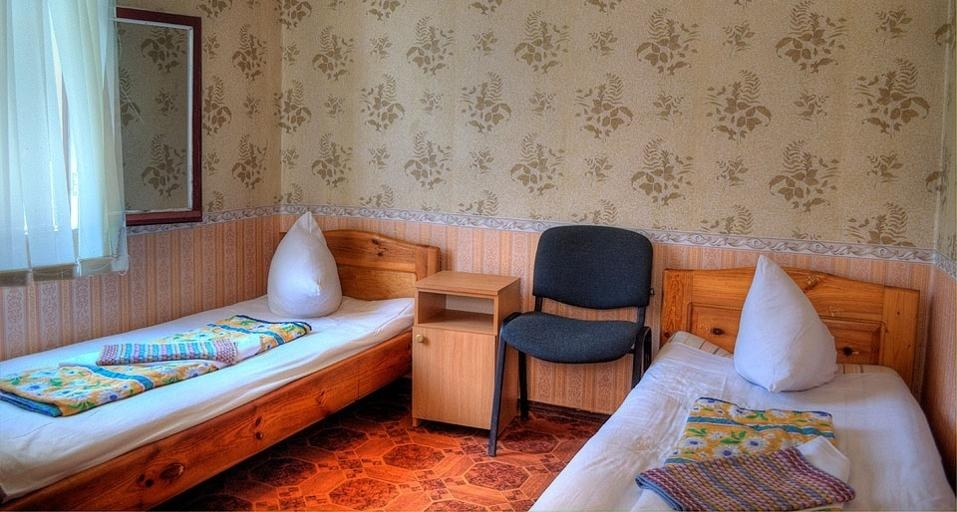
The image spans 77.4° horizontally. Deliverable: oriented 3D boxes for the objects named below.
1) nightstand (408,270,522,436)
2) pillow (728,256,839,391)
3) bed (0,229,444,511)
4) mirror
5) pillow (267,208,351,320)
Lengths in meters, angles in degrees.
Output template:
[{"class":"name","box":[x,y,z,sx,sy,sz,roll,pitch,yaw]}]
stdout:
[{"class":"nightstand","box":[-0.048,0.704,4.462,0.741,1.035,0.637,1,4,27]},{"class":"pillow","box":[1.876,0.421,3.714,0.681,0.692,0.260,-10,-26,19]},{"class":"bed","box":[-1.406,0.683,3.910,1.228,0.846,2.311,5,9,27]},{"class":"mirror","box":[-2.201,-0.962,4.203,0.584,1.447,0.314,-6,16,-31]},{"class":"pillow","box":[-1.298,0.060,4.574,0.547,0.542,0.718,-4,55,-15]}]
